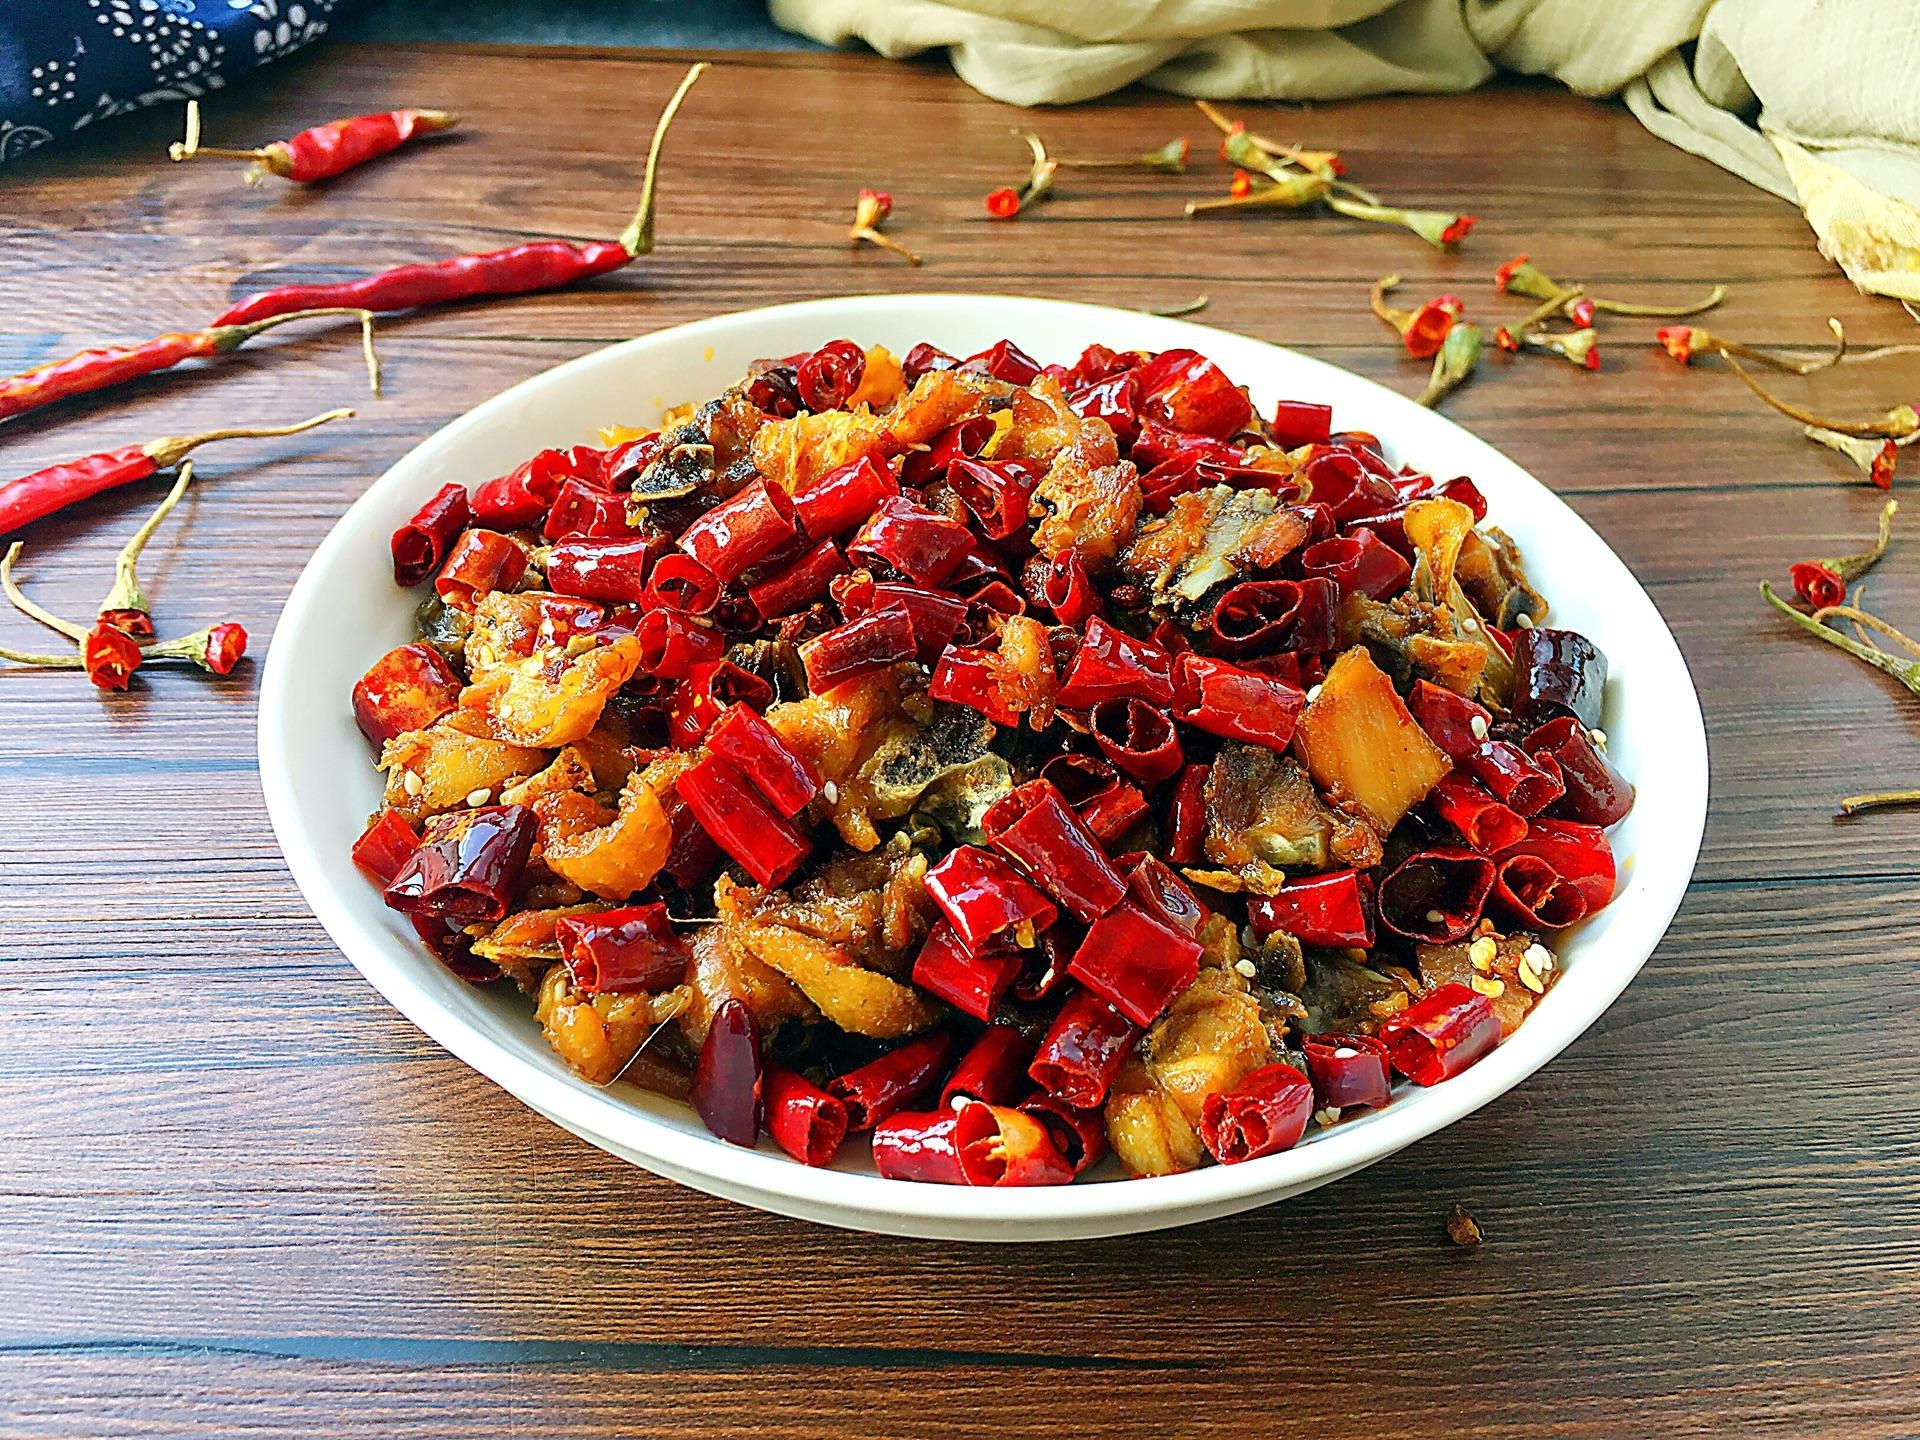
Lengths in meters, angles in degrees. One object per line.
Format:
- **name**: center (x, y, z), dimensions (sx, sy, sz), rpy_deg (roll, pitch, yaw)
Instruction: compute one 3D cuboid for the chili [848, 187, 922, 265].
- **chili**: center (-0.186, -1.226, 4.837), dimensions (0.262, 0.110, 0.150), rpy_deg (25, 78, 48)
